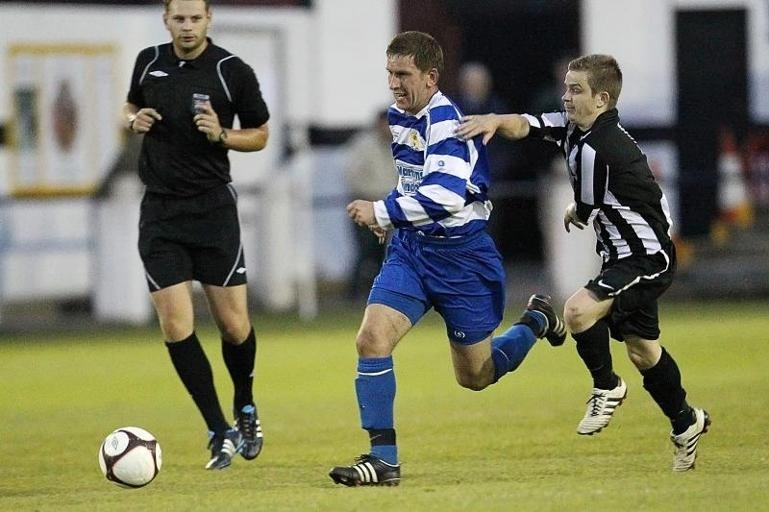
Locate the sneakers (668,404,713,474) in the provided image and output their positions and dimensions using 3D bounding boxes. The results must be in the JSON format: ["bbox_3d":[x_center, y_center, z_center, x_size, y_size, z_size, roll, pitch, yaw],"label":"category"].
[{"bbox_3d":[2.084,1.310,7.737,0.254,0.504,0.187,19,-9,-40],"label":"sneakers"}]

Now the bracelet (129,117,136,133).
[{"bbox_3d":[-1.784,-0.920,7.780,0.036,0.092,0.072,-4,19,3],"label":"bracelet"}]

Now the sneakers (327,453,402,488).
[{"bbox_3d":[-0.120,1.463,7.492,0.519,0.242,0.184,5,-18,-6],"label":"sneakers"}]

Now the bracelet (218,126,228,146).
[{"bbox_3d":[-1.137,-0.833,7.734,0.034,0.093,0.070,-4,8,13],"label":"bracelet"}]

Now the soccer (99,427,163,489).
[{"bbox_3d":[-1.719,1.319,7.474,0.391,0.378,0.382,-9,50,-5],"label":"soccer"}]

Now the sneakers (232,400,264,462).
[{"bbox_3d":[-0.999,1.290,8.101,0.155,0.419,0.182,-12,-11,-5],"label":"sneakers"}]
